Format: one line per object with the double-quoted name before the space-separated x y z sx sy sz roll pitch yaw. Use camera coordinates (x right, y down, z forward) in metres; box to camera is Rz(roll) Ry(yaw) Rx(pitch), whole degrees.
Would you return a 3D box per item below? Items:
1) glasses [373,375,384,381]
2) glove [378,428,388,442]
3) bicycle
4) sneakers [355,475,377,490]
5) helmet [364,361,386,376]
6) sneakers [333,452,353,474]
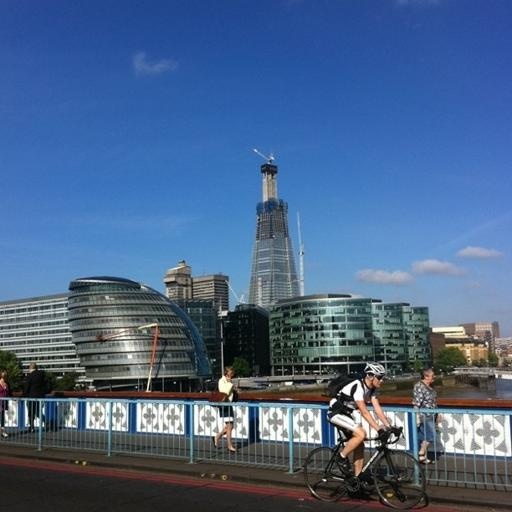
"glasses" 1.819 1.801 9.183 0.108 0.079 0.331 -7 -12 22
"glove" 1.805 2.556 8.859 0.180 0.211 0.197 -5 -12 8
"bicycle" 1.634 3.118 9.304 1.870 1.164 0.822 -10 -14 34
"sneakers" 1.567 3.346 9.209 0.257 0.100 0.327 6 -9 -15
"helmet" 1.715 1.667 9.199 0.300 0.141 0.207 -5 -6 37
"sneakers" 1.281 3.064 9.274 0.140 0.151 0.372 13 18 -32
